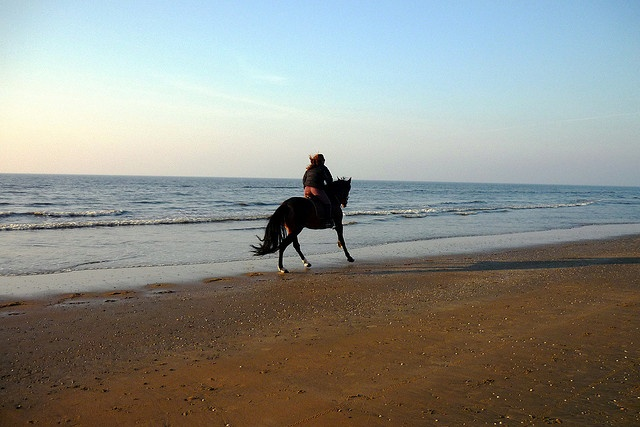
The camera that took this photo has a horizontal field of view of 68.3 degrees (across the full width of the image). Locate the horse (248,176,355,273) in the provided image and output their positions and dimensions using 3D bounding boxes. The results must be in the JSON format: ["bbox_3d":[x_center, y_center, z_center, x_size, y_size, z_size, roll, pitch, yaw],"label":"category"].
[{"bbox_3d":[-0.410,0.276,13.794,2.971,2.508,1.131,-5,7,-42],"label":"horse"}]
